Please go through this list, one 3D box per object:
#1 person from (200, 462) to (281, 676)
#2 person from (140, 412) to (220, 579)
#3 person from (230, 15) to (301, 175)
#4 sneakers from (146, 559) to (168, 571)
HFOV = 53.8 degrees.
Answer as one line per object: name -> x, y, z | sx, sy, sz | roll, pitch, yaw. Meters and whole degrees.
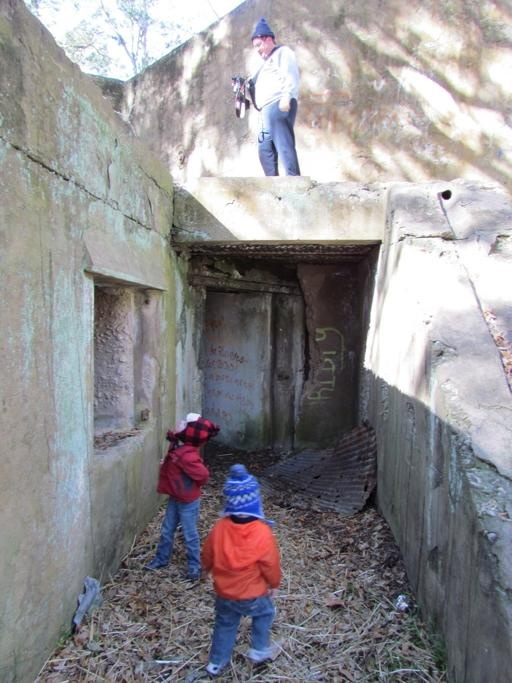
person -> -0.069, 1.006, 2.118 | 0.317, 0.965, 0.238 | 0, 5, -3
person -> -0.445, 0.937, 3.100 | 0.393, 1.013, 0.441 | 5, 6, -4
person -> 0.112, -2.073, 4.395 | 0.447, 1.395, 0.797 | -2, 6, -24
sneakers -> -0.608, 1.380, 3.133 | 0.144, 0.077, 0.058 | 10, -7, -14
